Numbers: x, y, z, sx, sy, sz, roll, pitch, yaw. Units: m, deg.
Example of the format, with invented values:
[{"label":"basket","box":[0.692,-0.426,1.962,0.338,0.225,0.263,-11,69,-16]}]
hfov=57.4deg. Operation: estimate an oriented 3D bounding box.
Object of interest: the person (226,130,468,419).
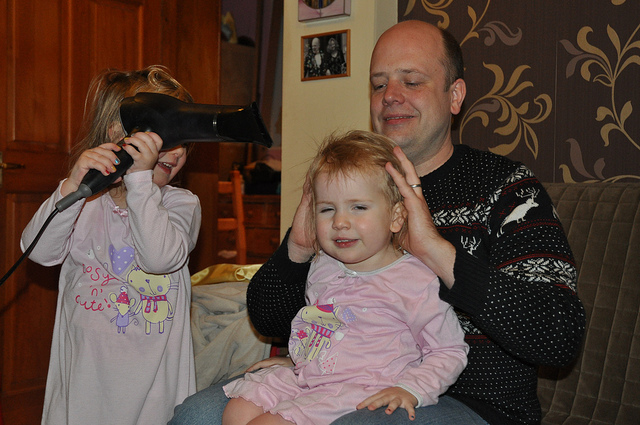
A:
[{"label":"person","box":[0.072,0.192,2.264,0.799,1.114,0.828,0,0,-41]}]
